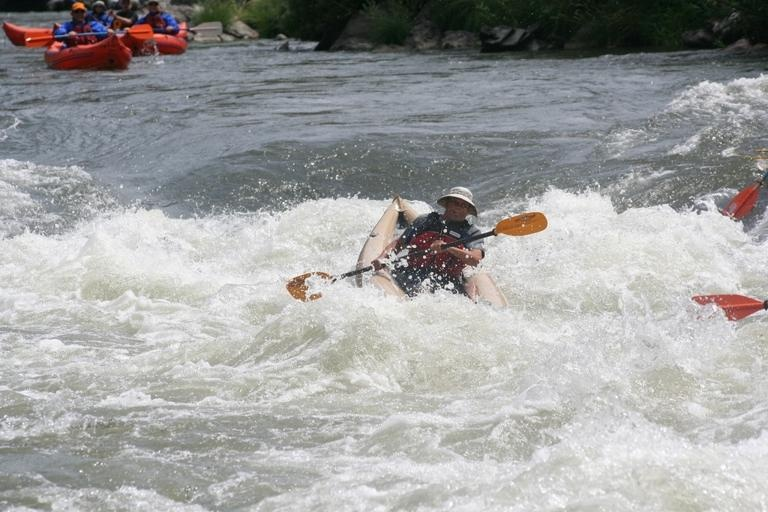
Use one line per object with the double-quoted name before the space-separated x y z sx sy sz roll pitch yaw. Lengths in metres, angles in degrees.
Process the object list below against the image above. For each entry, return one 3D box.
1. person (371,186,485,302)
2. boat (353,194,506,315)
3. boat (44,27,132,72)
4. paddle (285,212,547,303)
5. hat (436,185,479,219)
"person" 0.582 -0.093 13.657 1.310 1.270 0.811 31 -6 10
"boat" 0.693 -0.123 13.613 1.389 1.564 1.032 22 15 19
"boat" -6.741 -4.587 23.622 1.999 0.564 0.861 0 19 22
"paddle" 0.478 0.058 13.665 3.788 0.426 0.221 -14 -30 9
"hat" 0.901 -0.760 13.650 0.560 0.262 0.398 17 -16 28
